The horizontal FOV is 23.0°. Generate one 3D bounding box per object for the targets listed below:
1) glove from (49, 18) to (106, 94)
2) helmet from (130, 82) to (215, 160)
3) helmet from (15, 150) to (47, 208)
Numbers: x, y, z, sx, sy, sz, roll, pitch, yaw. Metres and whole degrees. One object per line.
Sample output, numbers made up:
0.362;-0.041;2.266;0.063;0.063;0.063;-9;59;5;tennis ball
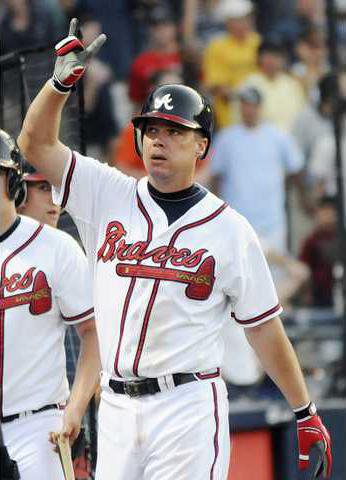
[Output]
-0.349;-0.661;3.038;0.212;0.233;0.144;-10;31;-5;glove
0.013;-0.447;3.305;0.248;0.254;0.320;3;-5;24;helmet
-0.632;-0.256;3.653;0.155;0.197;0.187;2;-1;5;helmet
